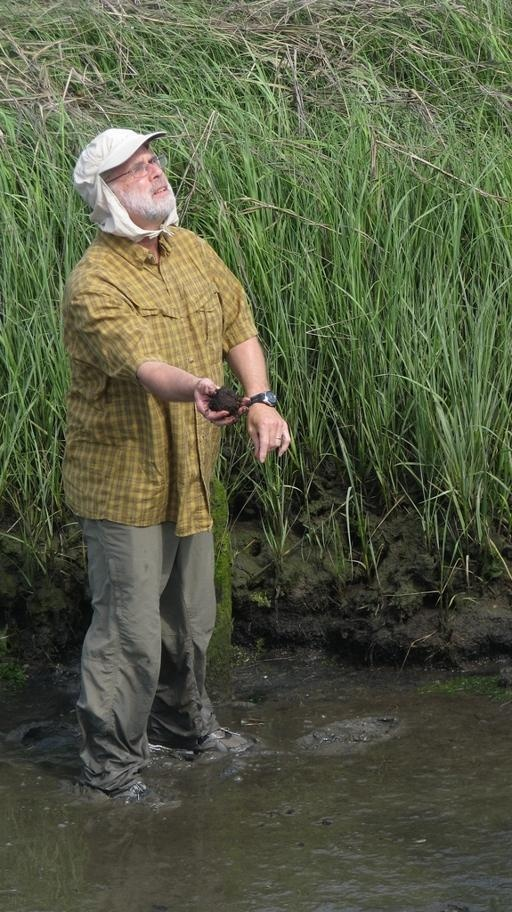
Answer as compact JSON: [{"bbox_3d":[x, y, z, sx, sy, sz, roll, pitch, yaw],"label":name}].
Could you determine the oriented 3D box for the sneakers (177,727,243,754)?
[{"bbox_3d":[-0.139,0.986,3.166,0.160,0.069,0.093,-16,14,-11],"label":"sneakers"}]

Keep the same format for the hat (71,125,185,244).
[{"bbox_3d":[-0.417,-0.808,2.730,0.247,0.288,0.240,-7,30,-9],"label":"hat"}]

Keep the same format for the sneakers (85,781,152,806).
[{"bbox_3d":[-0.436,1.061,2.842,0.117,0.043,0.084,-6,-7,-3],"label":"sneakers"}]

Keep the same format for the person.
[{"bbox_3d":[-0.293,0.089,2.879,0.703,1.998,1.081,-2,30,1],"label":"person"}]
